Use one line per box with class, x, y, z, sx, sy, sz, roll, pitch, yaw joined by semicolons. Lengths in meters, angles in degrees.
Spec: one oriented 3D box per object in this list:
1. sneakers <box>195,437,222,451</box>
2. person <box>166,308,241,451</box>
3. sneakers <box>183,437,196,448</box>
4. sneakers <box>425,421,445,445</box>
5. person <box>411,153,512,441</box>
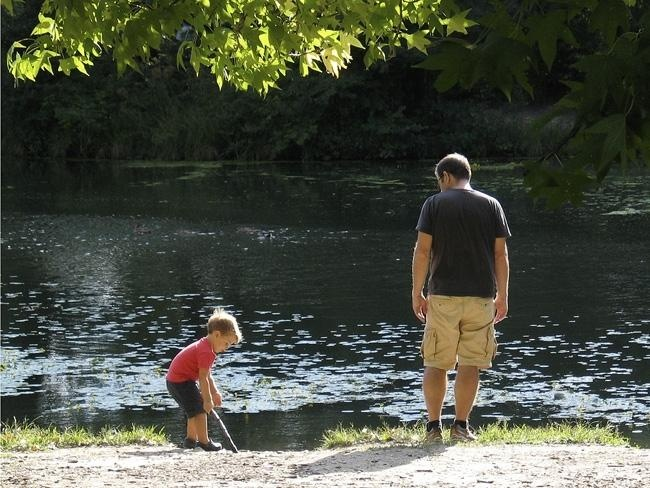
sneakers;-1.199;2.062;13.997;0.263;0.103;0.105;3;3;1
person;-1.263;1.390;14.017;0.796;1.081;0.463;-2;-1;38
sneakers;-1.396;2.051;14.003;0.078;0.082;0.128;4;5;25
sneakers;1.103;1.918;13.757;0.212;0.223;0.532;0;1;5
person;1.397;0.693;13.920;0.971;2.339;0.448;-2;-1;4
